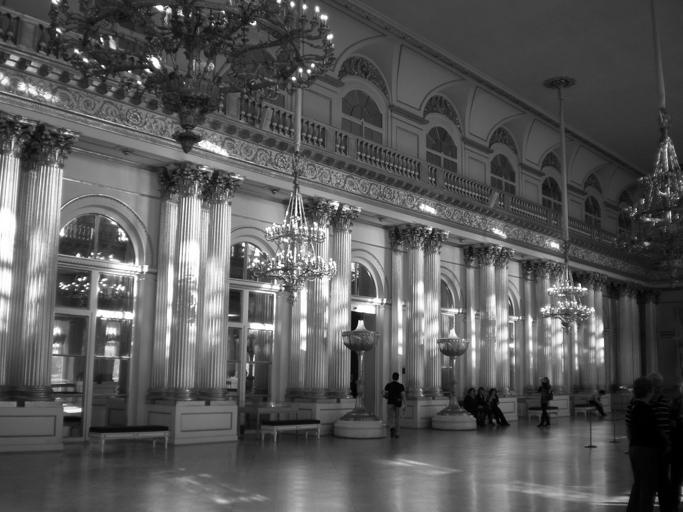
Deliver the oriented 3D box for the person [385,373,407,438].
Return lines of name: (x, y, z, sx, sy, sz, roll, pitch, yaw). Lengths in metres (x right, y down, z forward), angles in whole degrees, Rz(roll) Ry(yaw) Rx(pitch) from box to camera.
person: (1.291, 3.651, 18.736, 0.479, 1.594, 1.431, 1, -12, 4)

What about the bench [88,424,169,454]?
bench: (-4.315, 3.699, 15.453, 1.618, 0.551, 2.288, 6, -13, -18)
